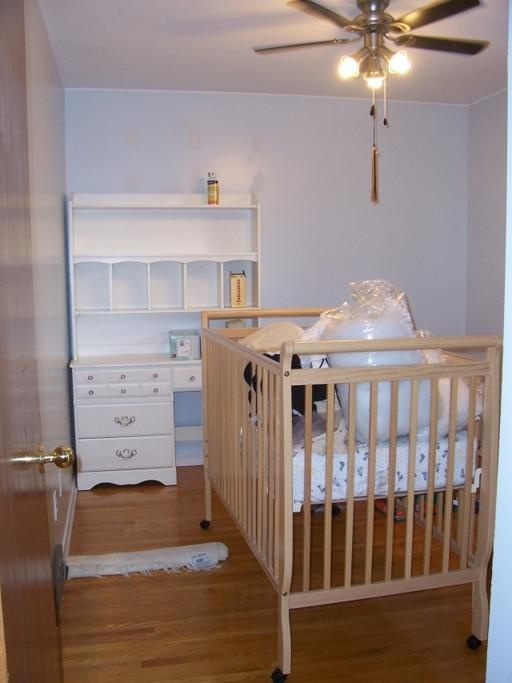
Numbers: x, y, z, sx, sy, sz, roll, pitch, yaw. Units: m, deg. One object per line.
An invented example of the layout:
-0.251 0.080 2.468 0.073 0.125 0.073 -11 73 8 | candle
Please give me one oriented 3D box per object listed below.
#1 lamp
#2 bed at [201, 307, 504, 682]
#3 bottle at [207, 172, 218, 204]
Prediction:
0.463 -1.113 2.384 0.225 0.214 0.224 4 24 6 | lamp
0.243 0.394 2.331 1.010 1.154 1.541 1 5 -14 | bed
-0.268 -0.950 3.845 0.065 0.212 0.071 -1 5 0 | bottle
